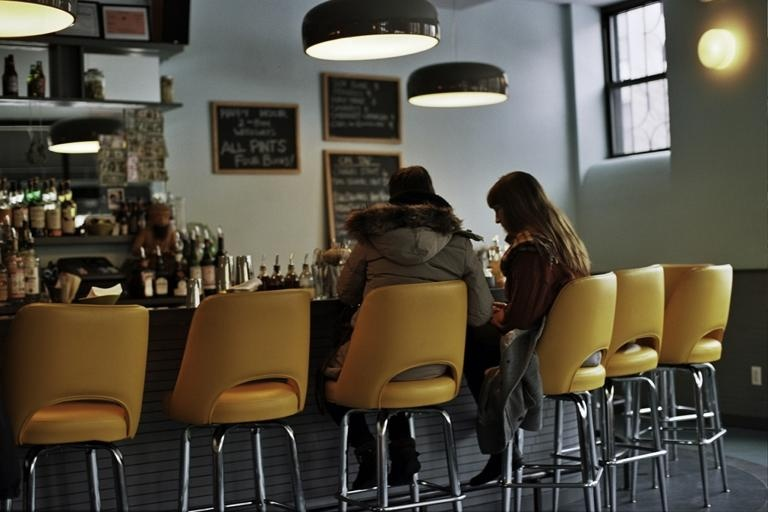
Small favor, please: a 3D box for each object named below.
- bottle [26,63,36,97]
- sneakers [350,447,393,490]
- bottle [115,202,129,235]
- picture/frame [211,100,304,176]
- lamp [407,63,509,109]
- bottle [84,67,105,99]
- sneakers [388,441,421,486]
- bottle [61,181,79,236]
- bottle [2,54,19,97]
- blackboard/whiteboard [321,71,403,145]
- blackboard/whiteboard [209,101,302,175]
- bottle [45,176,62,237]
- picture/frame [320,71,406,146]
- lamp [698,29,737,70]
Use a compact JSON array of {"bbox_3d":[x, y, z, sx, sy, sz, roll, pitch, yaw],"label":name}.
[{"bbox_3d":[-2.679,-1.340,5.180,0.067,0.233,0.048,2,5,18],"label":"bottle"},{"bbox_3d":[-0.087,1.086,3.425,0.164,0.265,0.271,0,-7,-15],"label":"sneakers"},{"bbox_3d":[-2.057,-0.286,5.371,0.126,0.257,0.085,5,6,41],"label":"bottle"},{"bbox_3d":[-1.183,-1.063,6.117,0.684,0.588,0.055,-2,2,-22],"label":"picture/frame"},{"bbox_3d":[0.476,-1.122,4.436,0.633,0.230,0.477,1,5,3],"label":"lamp"},{"bbox_3d":[-2.253,-1.332,5.287,0.147,0.258,0.101,-1,5,-25],"label":"bottle"},{"bbox_3d":[0.091,1.058,3.423,0.198,0.205,0.157,4,-23,-2],"label":"sneakers"},{"bbox_3d":[-2.441,-0.365,5.258,0.116,0.410,0.131,-1,5,-23],"label":"bottle"},{"bbox_3d":[-2.808,-1.343,5.113,0.109,0.326,0.087,-2,5,-30],"label":"bottle"},{"bbox_3d":[-0.252,-1.410,6.503,0.737,0.600,0.051,0,-1,-25],"label":"blackboard/whiteboard"},{"bbox_3d":[-1.200,-1.058,6.111,0.668,0.572,0.051,-2,2,-22],"label":"blackboard/whiteboard"},{"bbox_3d":[-2.545,-0.372,5.221,0.120,0.435,0.170,-1,5,-27],"label":"bottle"},{"bbox_3d":[-0.243,-1.410,6.507,0.748,0.616,0.051,0,-1,-25],"label":"picture/frame"},{"bbox_3d":[2.865,-1.761,5.856,0.170,0.317,0.306,-7,22,-42],"label":"lamp"}]
